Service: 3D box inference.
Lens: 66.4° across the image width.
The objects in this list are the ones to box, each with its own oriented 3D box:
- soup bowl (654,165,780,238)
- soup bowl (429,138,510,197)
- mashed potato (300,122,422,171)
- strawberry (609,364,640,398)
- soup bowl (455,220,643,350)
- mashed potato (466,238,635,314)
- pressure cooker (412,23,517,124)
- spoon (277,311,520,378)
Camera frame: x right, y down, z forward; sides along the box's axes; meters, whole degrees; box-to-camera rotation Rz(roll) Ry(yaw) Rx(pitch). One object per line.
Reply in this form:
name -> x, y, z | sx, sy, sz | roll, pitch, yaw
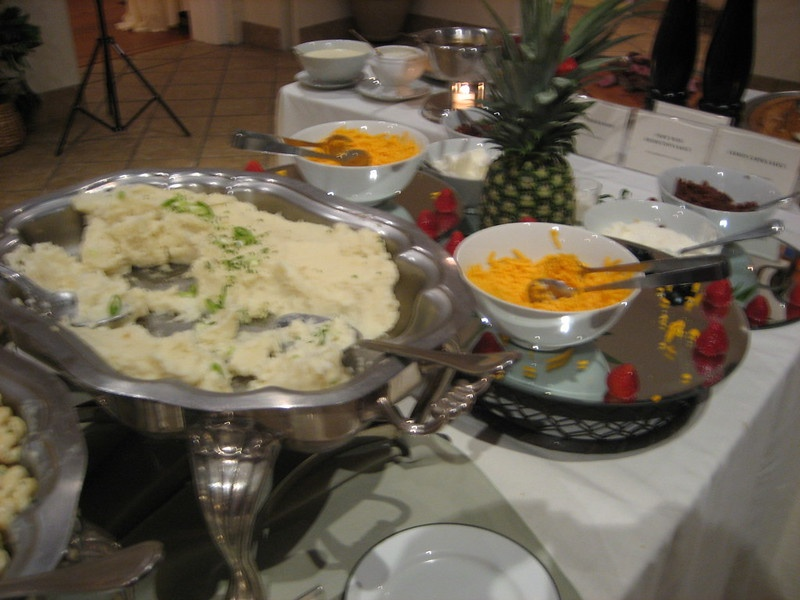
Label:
soup bowl -> 0.750, -0.223, 1.504 | 0.250, 0.092, 0.217 | -17, 39, -16
soup bowl -> 0.152, -0.349, 1.550 | 0.208, 0.080, 0.170 | 1, 35, 3
mashed potato -> -0.079, -0.381, 1.506 | 0.204, 0.045, 0.194 | -21, 38, -33
strawberry -> 0.362, 0.132, 0.992 | 0.042, 0.043, 0.039 | 6, 25, -17
soup bowl -> 0.271, 0.003, 1.146 | 0.325, 0.118, 0.278 | -11, 37, -19
mashed potato -> 0.287, -0.069, 1.072 | 0.258, 0.238, 0.049 | -20, 64, 15
pressure cooker -> 0.213, -0.798, 2.155 | 0.319, 0.222, 0.264 | -7, 36, -6
spoon -> -0.002, 0.071, 0.966 | 0.442, 0.037, 0.065 | 7, 8, 23
